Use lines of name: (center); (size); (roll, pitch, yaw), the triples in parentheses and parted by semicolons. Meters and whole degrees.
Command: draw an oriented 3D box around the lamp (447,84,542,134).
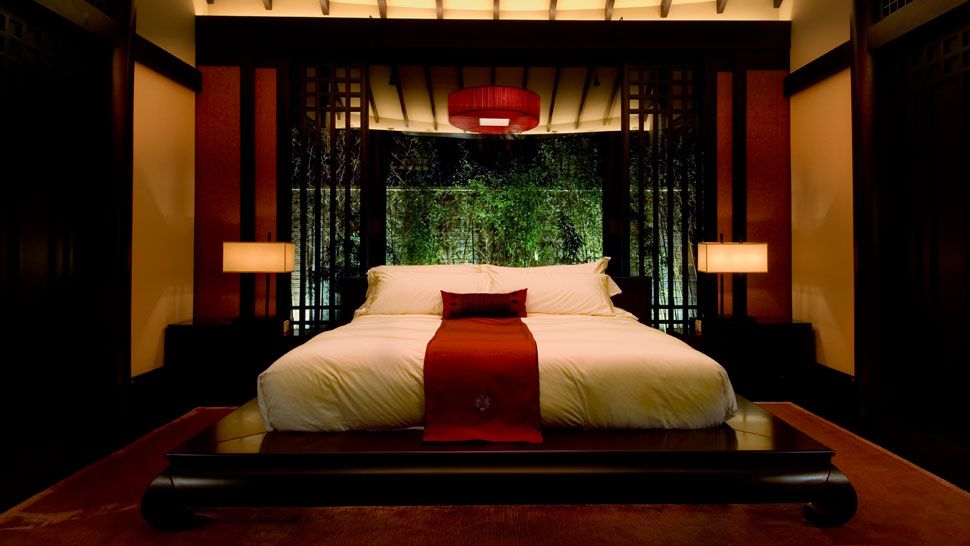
lamp: (0.104, -1.649, 7.304); (0.619, 0.142, 0.603); (1, -1, -18)

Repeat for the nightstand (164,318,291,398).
nightstand: (-2.812, 0.815, 7.096); (0.417, 0.519, 0.797); (-28, -19, 37)

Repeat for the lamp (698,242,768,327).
lamp: (2.501, 0.096, 7.447); (0.760, 1.063, 0.872); (-1, 1, 4)
